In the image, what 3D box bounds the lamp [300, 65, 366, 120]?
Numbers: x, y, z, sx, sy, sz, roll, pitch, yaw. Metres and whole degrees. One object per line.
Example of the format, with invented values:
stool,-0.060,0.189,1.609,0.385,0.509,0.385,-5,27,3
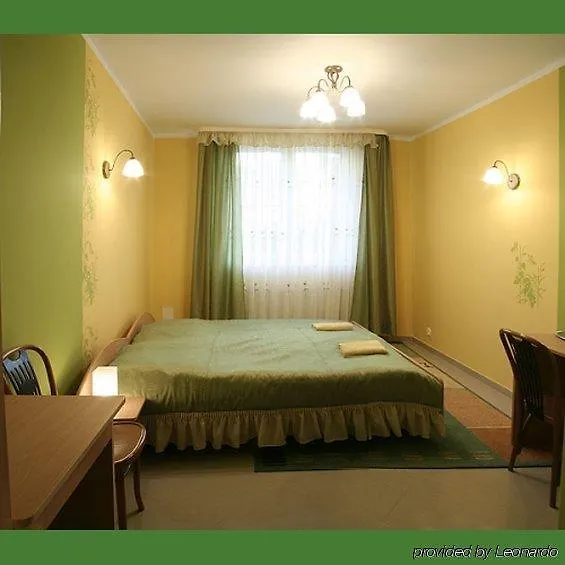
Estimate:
lamp,0.345,-1.317,3.176,0.328,0.264,0.376,2,16,13
